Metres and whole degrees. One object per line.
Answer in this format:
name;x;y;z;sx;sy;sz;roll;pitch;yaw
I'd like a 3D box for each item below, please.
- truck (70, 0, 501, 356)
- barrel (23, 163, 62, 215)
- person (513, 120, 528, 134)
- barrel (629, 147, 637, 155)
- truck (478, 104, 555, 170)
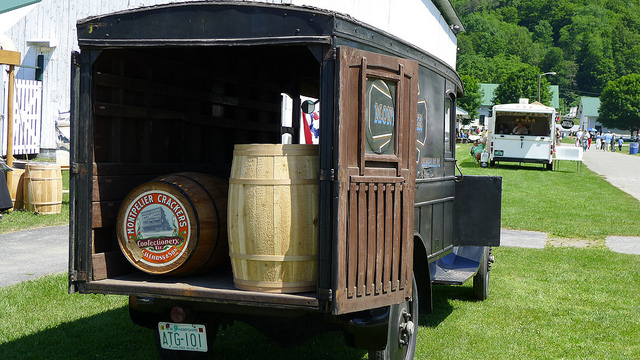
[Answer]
truck;0.066;-0.097;8.952;3.970;4.013;6.967;2;4;24
barrel;-7.441;0.211;14.233;1.112;1.687;1.201;1;0;0
person;10.962;-2.972;29.044;0.807;1.152;0.652;-3;-16;22
barrel;30.775;-2.918;52.006;0.666;0.775;0.688;-1;0;25
truck;10.979;-2.376;31.215;3.552;3.598;6.037;3;2;2
